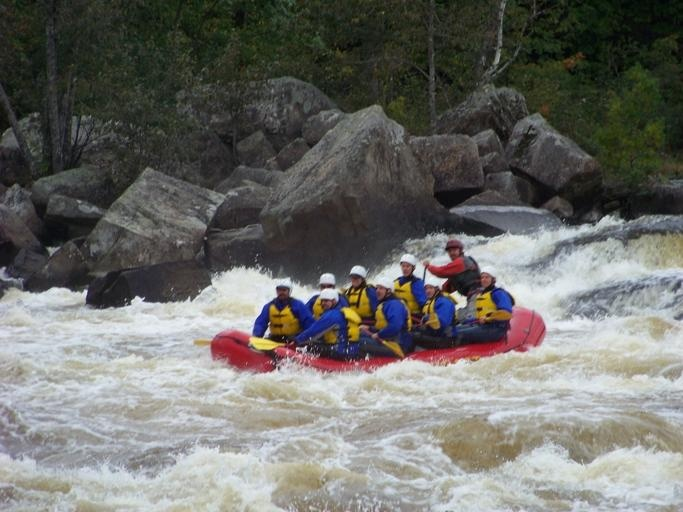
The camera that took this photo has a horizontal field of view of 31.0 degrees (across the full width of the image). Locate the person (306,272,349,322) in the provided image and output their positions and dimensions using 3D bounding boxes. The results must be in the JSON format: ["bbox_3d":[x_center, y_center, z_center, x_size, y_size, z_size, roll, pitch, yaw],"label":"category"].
[{"bbox_3d":[-0.287,1.121,32.613,0.949,1.438,0.563,-3,-35,11],"label":"person"}]

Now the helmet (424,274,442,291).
[{"bbox_3d":[2.415,0.671,31.965,0.364,0.432,0.298,15,-14,-42],"label":"helmet"}]

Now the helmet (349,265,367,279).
[{"bbox_3d":[0.510,0.423,32.089,0.396,0.324,0.284,30,-19,-29],"label":"helmet"}]

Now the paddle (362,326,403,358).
[{"bbox_3d":[1.010,2.264,31.152,0.737,0.269,0.781,14,23,-4],"label":"paddle"}]

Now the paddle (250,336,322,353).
[{"bbox_3d":[-1.347,2.238,31.113,1.817,0.158,0.636,10,20,-7],"label":"paddle"}]

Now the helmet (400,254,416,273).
[{"bbox_3d":[1.827,0.170,32.348,0.323,0.442,0.456,1,-19,18],"label":"helmet"}]

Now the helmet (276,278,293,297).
[{"bbox_3d":[-1.423,0.825,31.521,0.302,0.378,0.446,0,-17,1],"label":"helmet"}]
